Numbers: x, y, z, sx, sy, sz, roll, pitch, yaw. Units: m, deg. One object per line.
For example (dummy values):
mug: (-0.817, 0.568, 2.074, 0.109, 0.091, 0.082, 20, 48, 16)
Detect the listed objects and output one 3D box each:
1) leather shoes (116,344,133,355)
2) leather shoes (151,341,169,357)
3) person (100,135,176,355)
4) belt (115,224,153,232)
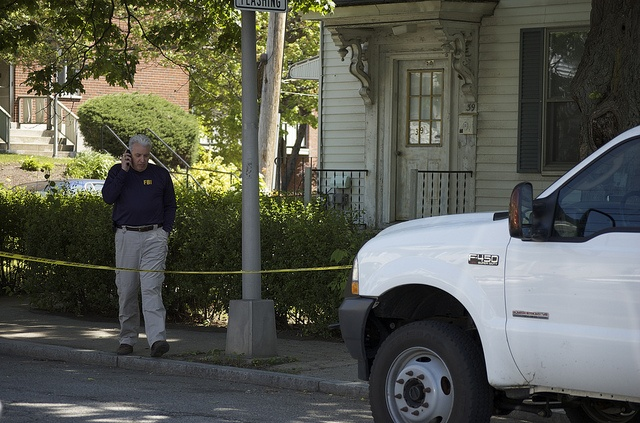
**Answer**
leather shoes: (-2.704, 1.888, 11.933, 0.225, 0.146, 0.212, 0, -3, -15)
leather shoes: (-2.164, 1.852, 11.731, 0.250, 0.235, 0.216, 1, -3, -35)
person: (-2.505, 0.449, 11.982, 0.913, 3.039, 0.526, -1, -3, 6)
belt: (-2.530, 0.226, 11.968, 0.513, 0.090, 0.122, -1, -3, 9)
